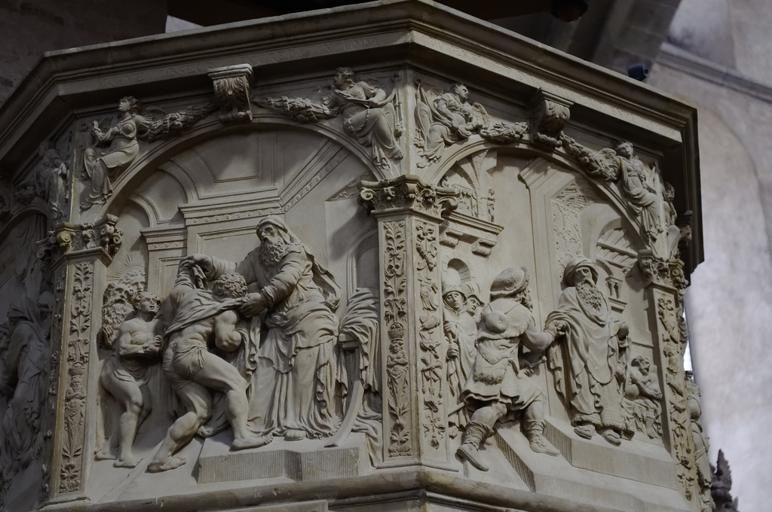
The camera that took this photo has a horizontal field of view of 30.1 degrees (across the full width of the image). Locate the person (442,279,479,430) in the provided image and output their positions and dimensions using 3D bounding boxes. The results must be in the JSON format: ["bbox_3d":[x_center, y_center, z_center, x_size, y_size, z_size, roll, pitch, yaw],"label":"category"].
[{"bbox_3d":[0.949,1.300,18.196,0.504,1.989,0.373,4,-28,-12],"label":"person"}]

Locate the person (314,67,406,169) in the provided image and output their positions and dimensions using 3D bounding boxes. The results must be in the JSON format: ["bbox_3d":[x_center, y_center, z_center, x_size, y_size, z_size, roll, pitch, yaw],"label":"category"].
[{"bbox_3d":[-0.330,-1.836,18.859,1.051,1.592,0.466,-13,-29,4],"label":"person"}]

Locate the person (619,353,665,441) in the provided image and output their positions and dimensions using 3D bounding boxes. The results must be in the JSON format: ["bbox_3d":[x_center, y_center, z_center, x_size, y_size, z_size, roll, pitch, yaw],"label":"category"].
[{"bbox_3d":[3.336,1.927,19.079,0.784,1.277,0.182,21,-29,-37],"label":"person"}]

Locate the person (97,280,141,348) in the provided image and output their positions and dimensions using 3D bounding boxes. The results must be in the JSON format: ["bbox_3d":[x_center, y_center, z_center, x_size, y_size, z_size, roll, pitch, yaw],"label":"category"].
[{"bbox_3d":[-3.420,0.681,18.608,0.457,0.833,0.246,5,-39,-3],"label":"person"}]

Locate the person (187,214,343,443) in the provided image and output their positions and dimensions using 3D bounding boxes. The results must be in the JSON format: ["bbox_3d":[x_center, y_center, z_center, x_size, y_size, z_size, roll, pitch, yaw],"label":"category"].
[{"bbox_3d":[-1.164,0.918,18.120,1.203,2.829,0.676,-1,-28,-3],"label":"person"}]

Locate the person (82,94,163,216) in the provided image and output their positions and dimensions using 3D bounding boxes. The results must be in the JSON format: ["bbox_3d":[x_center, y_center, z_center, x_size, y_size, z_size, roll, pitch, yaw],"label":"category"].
[{"bbox_3d":[-3.566,-1.429,19.227,1.423,1.735,0.608,-18,-30,33],"label":"person"}]
